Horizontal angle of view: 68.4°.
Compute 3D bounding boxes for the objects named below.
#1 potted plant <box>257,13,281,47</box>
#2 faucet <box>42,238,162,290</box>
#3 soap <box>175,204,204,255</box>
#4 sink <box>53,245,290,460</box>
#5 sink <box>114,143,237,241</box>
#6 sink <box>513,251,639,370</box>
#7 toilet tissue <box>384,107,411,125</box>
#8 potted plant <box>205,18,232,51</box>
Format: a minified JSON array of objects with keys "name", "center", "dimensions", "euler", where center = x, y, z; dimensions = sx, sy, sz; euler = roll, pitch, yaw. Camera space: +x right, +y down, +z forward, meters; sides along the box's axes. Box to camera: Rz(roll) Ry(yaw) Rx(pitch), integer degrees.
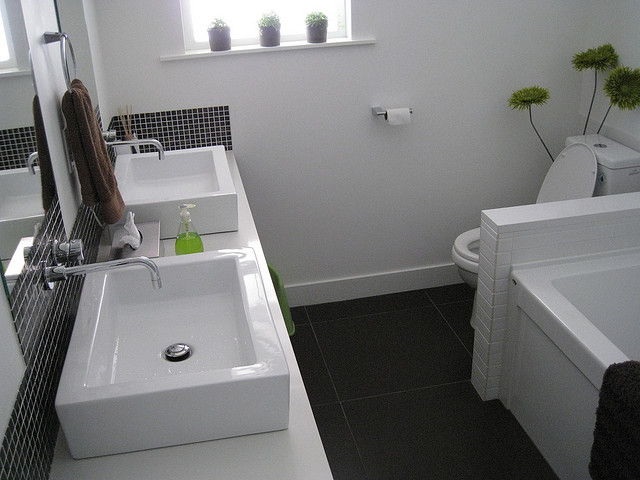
[{"name":"potted plant","center":[-0.295,-1.223,2.784],"dimensions":[0.124,0.176,0.136],"euler":[0,6,13]},{"name":"faucet","center":[-0.635,0.062,1.321],"dimensions":[0.199,0.091,0.200],"euler":[1,19,-14]},{"name":"soap","center":[-0.531,-0.030,1.883],"dimensions":[0.092,0.227,0.092],"euler":[21,32,35]},{"name":"sink","center":[-0.449,0.316,1.491],"dimensions":[0.557,0.216,0.851],"euler":[-3,20,-17]},{"name":"sink","center":[-0.709,-0.184,2.362],"dimensions":[0.448,0.182,0.730],"euler":[-3,30,-9]},{"name":"sink","center":[1.227,0.391,2.217],"dimensions":[0.401,0.238,0.503],"euler":[-7,31,-15]},{"name":"toilet tissue","center":[0.476,-0.760,2.882],"dimensions":[0.125,0.103,0.032],"euler":[-6,8,-7]},{"name":"potted plant","center":[-0.571,-1.175,2.680],"dimensions":[0.129,0.175,0.165],"euler":[-5,30,-8]}]
